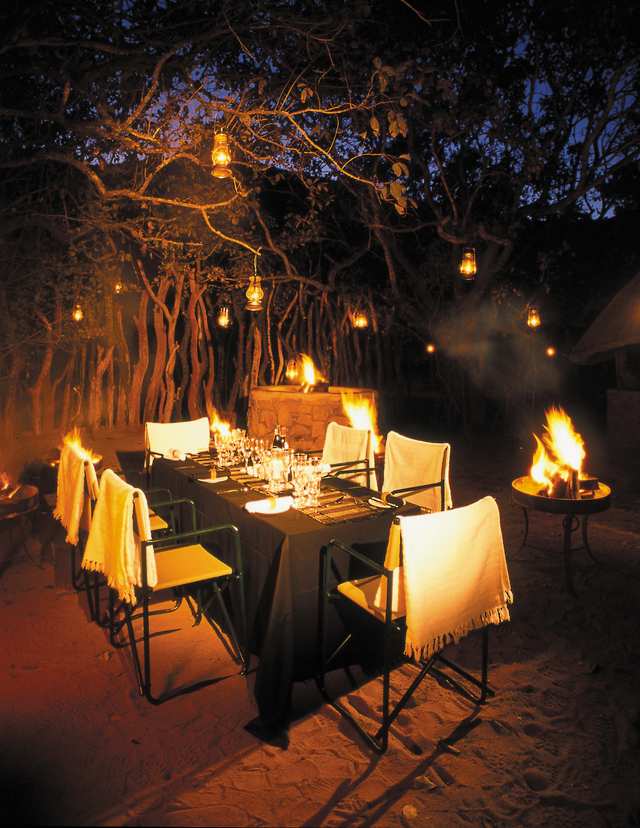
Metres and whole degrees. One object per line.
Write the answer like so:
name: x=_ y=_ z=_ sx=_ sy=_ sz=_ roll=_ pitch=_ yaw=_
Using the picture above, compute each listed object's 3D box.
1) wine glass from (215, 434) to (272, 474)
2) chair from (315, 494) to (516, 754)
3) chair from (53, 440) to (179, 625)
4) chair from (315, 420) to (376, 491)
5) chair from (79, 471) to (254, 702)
wine glass: x=-0.568 y=0.283 z=4.805 sx=0.209 sy=0.246 sz=0.673 roll=-1 pitch=6 yaw=-26
chair: x=0.486 y=0.938 z=3.229 sx=0.880 sy=1.102 sz=0.809 roll=8 pitch=12 yaw=44
chair: x=-1.352 y=0.794 z=4.122 sx=0.456 sy=0.427 sz=1.046 roll=-6 pitch=26 yaw=-36
chair: x=0.128 y=0.324 z=5.311 sx=0.568 sy=0.587 sz=0.438 roll=0 pitch=1 yaw=-37
chair: x=-0.897 y=0.825 z=4.038 sx=1.181 sy=1.671 sz=1.087 roll=-4 pitch=9 yaw=-26
